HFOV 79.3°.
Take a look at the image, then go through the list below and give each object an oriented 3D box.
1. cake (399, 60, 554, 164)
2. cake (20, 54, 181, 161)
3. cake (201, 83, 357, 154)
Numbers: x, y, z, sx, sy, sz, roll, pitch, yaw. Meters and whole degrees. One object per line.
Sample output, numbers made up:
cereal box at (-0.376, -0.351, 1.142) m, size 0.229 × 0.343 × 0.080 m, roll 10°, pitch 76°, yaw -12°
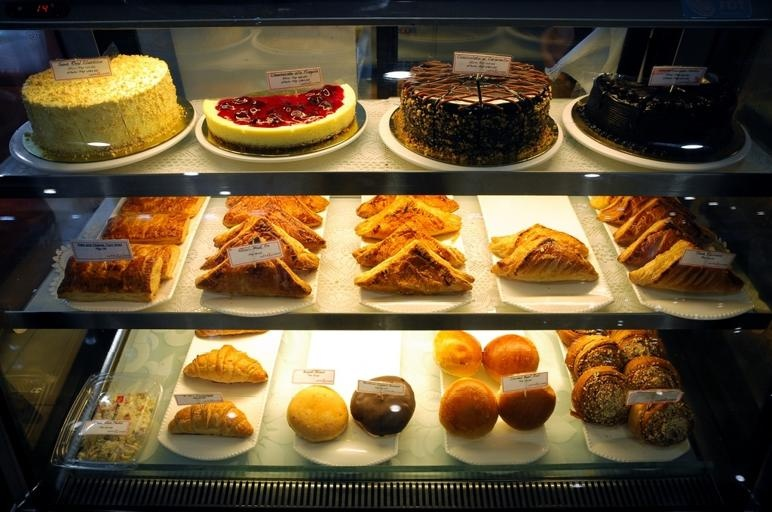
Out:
cake at (0.365, -0.559, 1.952) m, size 0.553 × 0.156 × 0.493 m, roll 4°, pitch 29°, yaw 8°
cake at (-1.131, -0.589, 2.049) m, size 0.578 × 0.189 × 0.537 m, roll 12°, pitch 32°, yaw 23°
cake at (-0.444, -0.607, 2.042) m, size 0.701 × 0.122 × 0.357 m, roll -8°, pitch 45°, yaw -9°
